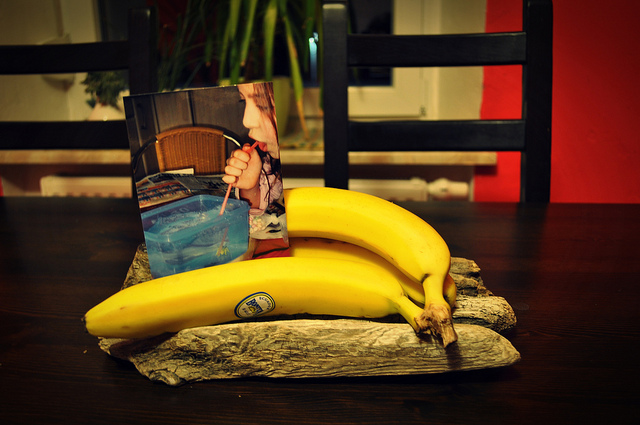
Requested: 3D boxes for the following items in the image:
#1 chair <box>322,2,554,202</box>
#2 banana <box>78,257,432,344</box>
[{"bbox_3d":[0.420,-0.366,2.074,0.727,0.669,1.049,2,17,8],"label":"chair"},{"bbox_3d":[-0.117,0.164,1.114,0.647,0.134,0.109,0,17,3],"label":"banana"}]
